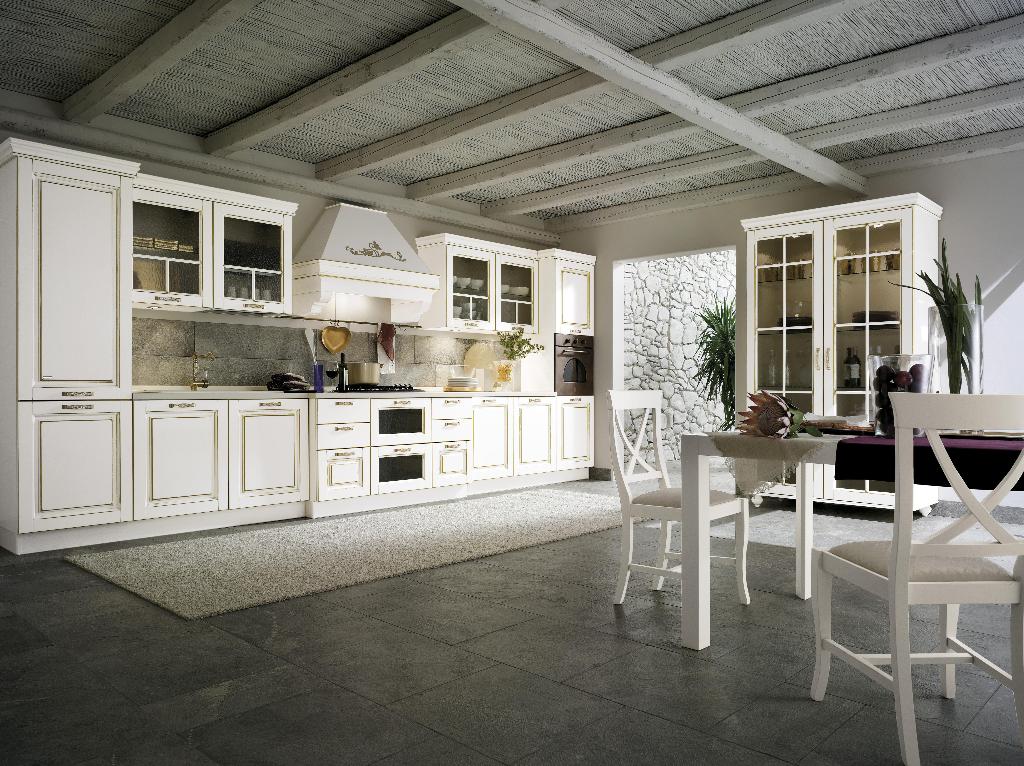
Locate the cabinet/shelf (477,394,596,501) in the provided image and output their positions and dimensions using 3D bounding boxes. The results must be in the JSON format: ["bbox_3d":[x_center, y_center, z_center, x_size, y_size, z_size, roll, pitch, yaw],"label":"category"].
[{"bbox_3d":[0.198,0.689,7.269,0.410,0.606,1.168,-3,-3,43],"label":"cabinet/shelf"}]

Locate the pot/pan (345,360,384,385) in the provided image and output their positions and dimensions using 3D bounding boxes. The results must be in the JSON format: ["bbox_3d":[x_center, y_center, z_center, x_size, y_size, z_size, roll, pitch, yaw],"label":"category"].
[{"bbox_3d":[-1.401,-0.107,6.572,0.297,0.139,0.197,-1,-3,7],"label":"pot/pan"}]

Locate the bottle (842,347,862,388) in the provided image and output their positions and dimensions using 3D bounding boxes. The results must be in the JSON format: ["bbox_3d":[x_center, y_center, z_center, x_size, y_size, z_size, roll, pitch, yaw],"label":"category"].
[{"bbox_3d":[2.946,-0.133,6.005,0.153,0.351,0.052,0,1,29],"label":"bottle"}]

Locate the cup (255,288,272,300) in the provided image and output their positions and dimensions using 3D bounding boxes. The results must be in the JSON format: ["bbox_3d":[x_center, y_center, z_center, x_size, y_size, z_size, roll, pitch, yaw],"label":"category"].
[{"bbox_3d":[-2.091,-0.754,5.777,0.059,0.076,0.130,-2,-3,35],"label":"cup"}]

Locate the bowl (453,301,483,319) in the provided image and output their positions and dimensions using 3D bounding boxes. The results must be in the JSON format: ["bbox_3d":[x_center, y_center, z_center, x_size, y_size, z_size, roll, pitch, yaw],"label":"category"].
[{"bbox_3d":[-0.455,-0.765,7.311,0.091,0.190,0.405,0,1,40],"label":"bowl"}]

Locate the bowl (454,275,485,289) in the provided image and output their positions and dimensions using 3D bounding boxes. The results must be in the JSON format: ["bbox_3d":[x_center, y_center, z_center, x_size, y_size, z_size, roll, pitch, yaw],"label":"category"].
[{"bbox_3d":[-0.467,-1.065,7.316,0.140,0.078,0.271,2,-1,35],"label":"bowl"}]

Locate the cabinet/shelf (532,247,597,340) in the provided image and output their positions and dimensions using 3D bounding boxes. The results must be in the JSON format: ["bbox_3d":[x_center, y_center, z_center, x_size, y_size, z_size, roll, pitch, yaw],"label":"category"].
[{"bbox_3d":[0.641,-1.016,8.005,0.729,1.019,0.245,-2,1,-33],"label":"cabinet/shelf"}]

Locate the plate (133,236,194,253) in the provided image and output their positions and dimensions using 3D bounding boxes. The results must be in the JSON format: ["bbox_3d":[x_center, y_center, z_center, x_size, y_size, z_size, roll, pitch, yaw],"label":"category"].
[{"bbox_3d":[-2.652,-1.048,5.221,0.115,0.078,0.415,-20,-10,38],"label":"plate"}]

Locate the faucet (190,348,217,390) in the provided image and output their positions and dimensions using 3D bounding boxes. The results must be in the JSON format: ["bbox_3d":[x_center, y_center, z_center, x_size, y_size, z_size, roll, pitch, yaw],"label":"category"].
[{"bbox_3d":[-2.556,-0.119,5.732,0.072,0.302,0.187,0,1,40],"label":"faucet"}]

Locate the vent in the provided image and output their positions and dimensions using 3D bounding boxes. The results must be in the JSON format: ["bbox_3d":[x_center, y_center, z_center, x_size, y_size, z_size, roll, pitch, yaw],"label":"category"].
[{"bbox_3d":[-1.435,-1.139,6.582,0.598,0.951,1.482,8,8,36],"label":"vent"}]

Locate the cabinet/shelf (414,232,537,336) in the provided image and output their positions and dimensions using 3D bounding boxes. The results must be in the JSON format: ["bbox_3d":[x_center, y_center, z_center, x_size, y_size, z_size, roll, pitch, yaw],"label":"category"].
[{"bbox_3d":[-0.440,-1.033,7.343,0.466,0.852,1.425,-2,-3,44],"label":"cabinet/shelf"}]

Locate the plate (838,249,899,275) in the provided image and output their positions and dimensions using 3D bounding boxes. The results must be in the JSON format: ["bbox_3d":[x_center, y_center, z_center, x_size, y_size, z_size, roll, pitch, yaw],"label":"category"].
[{"bbox_3d":[3.060,-1.031,5.965,0.479,0.170,0.016,0,1,40],"label":"plate"}]

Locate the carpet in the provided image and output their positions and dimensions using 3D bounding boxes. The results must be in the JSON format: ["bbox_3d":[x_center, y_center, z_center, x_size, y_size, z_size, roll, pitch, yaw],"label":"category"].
[{"bbox_3d":[-0.871,1.111,5.017,3.610,0.049,1.817,-1,1,-42],"label":"carpet"}]

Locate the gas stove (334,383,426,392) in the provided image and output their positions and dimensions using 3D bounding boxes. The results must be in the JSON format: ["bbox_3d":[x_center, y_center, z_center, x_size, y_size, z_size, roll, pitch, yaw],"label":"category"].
[{"bbox_3d":[-1.212,0.035,6.487,0.594,0.081,1.089,-1,0,20],"label":"gas stove"}]
